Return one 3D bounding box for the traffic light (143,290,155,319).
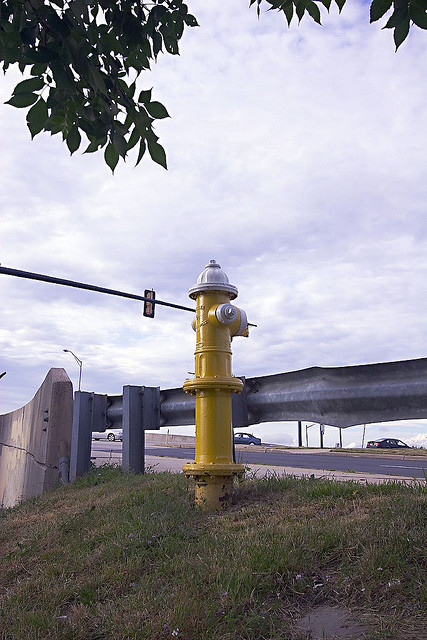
[{"bbox_3d":[-1.791,-0.447,14.279,0.262,0.720,0.844,1,-7,-10],"label":"traffic light"}]

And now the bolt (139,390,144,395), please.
[{"bbox_3d":[-1.113,1.119,7.958,0.051,0.075,0.042,3,-10,-36],"label":"bolt"}]

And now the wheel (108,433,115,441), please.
[{"bbox_3d":[-11.404,13.241,57.970,0.430,0.853,2.168,2,-7,-18],"label":"wheel"}]

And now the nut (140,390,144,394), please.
[{"bbox_3d":[-1.101,1.114,7.943,0.072,0.058,0.015,-6,-9,42],"label":"nut"}]

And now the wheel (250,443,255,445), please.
[{"bbox_3d":[3.345,10.741,44.439,0.333,0.121,0.336,-1,-52,-1],"label":"wheel"}]

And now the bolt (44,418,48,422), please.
[{"bbox_3d":[-3.467,2.085,10.720,0.077,0.074,0.018,7,-2,30],"label":"bolt"}]

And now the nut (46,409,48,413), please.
[{"bbox_3d":[-3.501,1.928,10.868,0.021,0.066,0.196,3,-7,-24],"label":"nut"}]

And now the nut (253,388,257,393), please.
[{"bbox_3d":[0.479,0.818,5.966,0.060,0.063,0.034,2,-12,1],"label":"nut"}]

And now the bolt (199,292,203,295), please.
[{"bbox_3d":[-0.141,-0.307,5.966,0.039,0.037,0.039,1,-2,-5],"label":"bolt"}]

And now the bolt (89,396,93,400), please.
[{"bbox_3d":[-2.275,1.450,9.578,0.025,0.097,0.029,4,-2,35],"label":"bolt"}]

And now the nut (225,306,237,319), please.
[{"bbox_3d":[0.190,-0.084,5.672,0.117,0.127,0.129,-9,6,26],"label":"nut"}]

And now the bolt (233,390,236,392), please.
[{"bbox_3d":[0.226,0.773,5.624,0.022,0.011,0.031,-4,-14,32],"label":"bolt"}]
